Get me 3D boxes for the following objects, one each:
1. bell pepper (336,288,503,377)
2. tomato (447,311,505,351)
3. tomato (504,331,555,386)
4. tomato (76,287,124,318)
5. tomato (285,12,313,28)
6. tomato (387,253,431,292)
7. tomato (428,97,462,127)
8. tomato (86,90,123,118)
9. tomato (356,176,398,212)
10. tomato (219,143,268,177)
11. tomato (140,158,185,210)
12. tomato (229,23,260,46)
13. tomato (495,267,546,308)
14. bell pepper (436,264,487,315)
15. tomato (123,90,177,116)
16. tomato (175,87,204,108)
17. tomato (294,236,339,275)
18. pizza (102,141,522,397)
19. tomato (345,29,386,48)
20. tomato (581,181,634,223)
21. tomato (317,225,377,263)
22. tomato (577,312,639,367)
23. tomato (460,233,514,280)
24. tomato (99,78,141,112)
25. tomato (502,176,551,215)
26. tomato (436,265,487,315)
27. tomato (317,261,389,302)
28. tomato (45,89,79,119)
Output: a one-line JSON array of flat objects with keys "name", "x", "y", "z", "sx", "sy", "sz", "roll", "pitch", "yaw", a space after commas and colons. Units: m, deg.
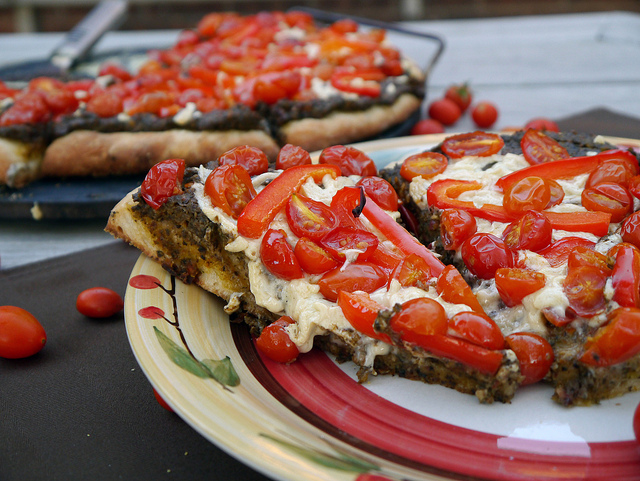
[{"name": "bell pepper", "x": 0.375, "y": 0.350, "z": 2.714, "sx": 0.534, "sy": 0.283, "sz": 0.128, "roll": 30, "pitch": 90, "yaw": 14}, {"name": "tomato", "x": 0.586, "y": 0.363, "z": 2.706, "sx": 0.248, "sy": 0.076, "sz": 0.203, "roll": 7, "pitch": 0, "yaw": 42}, {"name": "tomato", "x": 0.808, "y": 0.455, "z": 2.710, "sx": 0.170, "sy": 0.115, "sz": 0.196, "roll": -3, "pitch": 76, "yaw": -1}, {"name": "tomato", "x": -1.020, "y": 0.284, "z": 3.278, "sx": 0.221, "sy": 0.135, "sz": 0.180, "roll": 6, "pitch": 21, "yaw": -11}, {"name": "tomato", "x": -0.176, "y": -1.828, "z": 5.788, "sx": 0.165, "sy": 0.099, "sz": 0.169, "roll": -10, "pitch": 25, "yaw": -23}, {"name": "tomato", "x": 0.374, "y": 0.126, "z": 2.822, "sx": 0.141, "sy": 0.049, "sz": 0.155, "roll": -5, "pitch": 70, "yaw": -6}, {"name": "tomato", "x": 0.894, "y": -0.955, "z": 5.145, "sx": 0.262, "sy": 0.216, "sz": 0.197, "roll": -2, "pitch": 14, "yaw": -40}, {"name": "tomato", "x": -1.381, "y": -0.900, "z": 4.617, "sx": 0.154, "sy": 0.113, "sz": 0.194, "roll": 6, "pitch": 15, "yaw": 11}, {"name": "tomato", "x": 0.262, "y": -0.227, "z": 3.214, "sx": 0.167, "sy": 0.097, "sz": 0.137, "roll": 36, "pitch": 39, "yaw": 13}, {"name": "tomato", "x": -0.344, "y": -0.362, "z": 3.264, "sx": 0.196, "sy": 0.213, "sz": 0.091, "roll": -2, "pitch": 70, "yaw": -17}, {"name": "tomato", "x": -0.680, "y": -0.253, "z": 3.093, "sx": 0.168, "sy": 0.099, "sz": 0.301, "roll": 15, "pitch": 62, "yaw": -6}, {"name": "tomato", "x": -0.581, "y": -1.588, "z": 5.409, "sx": 0.244, "sy": 0.069, "sz": 0.141, "roll": -39, "pitch": 61, "yaw": -10}, {"name": "tomato", "x": 0.775, "y": 0.169, "z": 2.753, "sx": 0.148, "sy": 0.125, "sz": 0.153, "roll": 2, "pitch": 1, "yaw": -1}, {"name": "bell pepper", "x": 0.530, "y": 0.183, "z": 2.740, "sx": 0.103, "sy": 0.172, "sz": 0.170, "roll": -37, "pitch": 34, "yaw": 1}, {"name": "tomato", "x": -1.119, "y": -0.924, "z": 4.664, "sx": 0.284, "sy": 0.107, "sz": 0.159, "roll": -24, "pitch": 27, "yaw": -15}, {"name": "tomato", "x": -0.863, "y": -0.978, "z": 4.740, "sx": 0.129, "sy": 0.068, "sz": 0.172, "roll": -20, "pitch": 17, "yaw": 39}, {"name": "tomato", "x": -0.026, "y": 0.062, "z": 2.895, "sx": 0.091, "sy": 0.149, "sz": 0.147, "roll": -43, "pitch": 15, "yaw": -4}, {"name": "pizza", "x": -0.015, "y": 0.042, "z": 2.931, "sx": 1.041, "sy": 0.500, "sz": 1.349, "roll": -20, "pitch": 49, "yaw": -34}, {"name": "tomato", "x": 0.320, "y": -1.440, "z": 5.038, "sx": 0.241, "sy": 0.079, "sz": 0.253, "roll": 13, "pitch": 34, "yaw": 31}, {"name": "tomato", "x": 1.253, "y": -0.178, "z": 3.068, "sx": 0.165, "sy": 0.056, "sz": 0.187, "roll": -9, "pitch": 49, "yaw": 8}, {"name": "tomato", "x": 0.118, "y": 0.003, "z": 2.907, "sx": 0.178, "sy": 0.088, "sz": 0.167, "roll": -13, "pitch": 36, "yaw": -8}, {"name": "tomato", "x": 1.076, "y": 0.381, "z": 2.647, "sx": 0.197, "sy": 0.087, "sz": 0.164, "roll": -28, "pitch": 19, "yaw": 14}, {"name": "tomato", "x": 0.685, "y": 0.055, "z": 2.940, "sx": 0.144, "sy": 0.127, "sz": 0.195, "roll": -14, "pitch": 39, "yaw": 0}, {"name": "tomato", "x": -1.307, "y": -1.022, "z": 4.734, "sx": 0.217, "sy": 0.133, "sz": 0.266, "roll": 0, "pitch": 27, "yaw": 28}, {"name": "tomato", "x": 0.903, "y": -0.199, "z": 3.082, "sx": 0.140, "sy": 0.090, "sz": 0.193, "roll": 31, "pitch": 68, "yaw": 28}, {"name": "tomato", "x": 0.531, "y": 0.189, "z": 2.734, "sx": 0.066, "sy": 0.172, "sz": 0.168, "roll": -31, "pitch": 83, "yaw": -2}, {"name": "tomato", "x": 0.126, "y": 0.131, "z": 2.815, "sx": 0.221, "sy": 0.143, "sz": 0.152, "roll": -5, "pitch": 20, "yaw": 4}, {"name": "tomato", "x": -1.644, "y": -0.891, "z": 4.522, "sx": 0.165, "sy": 0.099, "sz": 0.176, "roll": 7, "pitch": 36, "yaw": -1}]
